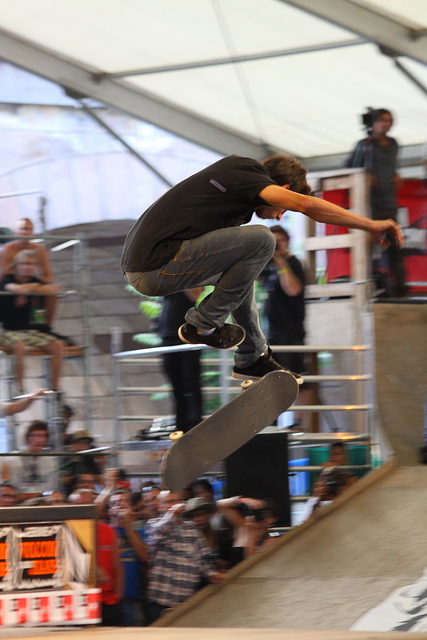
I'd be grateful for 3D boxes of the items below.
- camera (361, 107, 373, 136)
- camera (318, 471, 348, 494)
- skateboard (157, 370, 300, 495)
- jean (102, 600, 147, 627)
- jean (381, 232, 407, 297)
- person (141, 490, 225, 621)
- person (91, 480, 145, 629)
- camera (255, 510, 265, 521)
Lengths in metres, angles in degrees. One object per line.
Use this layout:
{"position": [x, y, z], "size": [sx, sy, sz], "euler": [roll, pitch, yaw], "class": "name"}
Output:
{"position": [1.412, -1.840, 8.086], "size": [0.113, 0.211, 0.299], "euler": [-10, -5, 12], "class": "camera"}
{"position": [0.990, 1.343, 7.293], "size": [0.240, 0.134, 0.129], "euler": [-7, -4, 4], "class": "camera"}
{"position": [-0.063, 0.665, 5.762], "size": [1.408, 0.418, 0.187], "euler": [-27, 36, -20], "class": "skateboard"}
{"position": [-0.683, 2.212, 6.635], "size": [0.324, 0.193, 0.080], "euler": [-6, -5, -9], "class": "jean"}
{"position": [1.527, -0.470, 7.624], "size": [0.217, 0.437, 0.145], "euler": [-8, -5, -13], "class": "jean"}
{"position": [-0.310, 1.834, 6.934], "size": [0.651, 0.598, 0.748], "euler": [-7, -4, -6], "class": "person"}
{"position": [-0.708, 1.867, 7.021], "size": [0.337, 0.646, 1.094], "euler": [-9, -4, -8], "class": "person"}
{"position": [0.358, 1.543, 6.938], "size": [0.072, 0.064, 0.026], "euler": [2, -7, -8], "class": "camera"}
